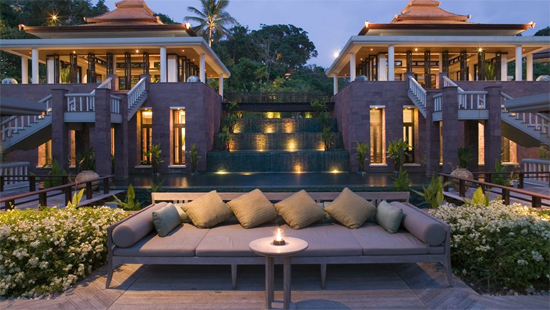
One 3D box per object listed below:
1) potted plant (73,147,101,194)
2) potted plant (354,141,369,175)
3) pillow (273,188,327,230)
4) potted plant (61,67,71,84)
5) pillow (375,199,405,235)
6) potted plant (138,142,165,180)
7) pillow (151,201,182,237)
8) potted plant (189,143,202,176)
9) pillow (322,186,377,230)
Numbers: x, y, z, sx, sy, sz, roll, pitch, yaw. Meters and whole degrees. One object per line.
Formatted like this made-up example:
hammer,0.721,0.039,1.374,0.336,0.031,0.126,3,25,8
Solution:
potted plant,-9.740,0.805,26.027,1.234,1.997,1.278,-1,-1,-22
potted plant,5.402,0.131,30.886,0.763,1.765,1.536,0,4,10
pillow,0.954,2.148,20.909,1.764,0.499,1.728,-20,46,-21
potted plant,-13.642,-5.114,32.646,0.432,1.018,1.411,-3,5,-25
pillow,4.698,2.527,20.842,0.797,0.997,1.492,-4,10,-20
potted plant,-7.425,0.233,30.986,0.991,1.845,3.239,-2,4,-14
pillow,-4.457,2.575,20.787,0.657,1.135,1.691,-3,7,14
potted plant,-5.017,0.193,31.054,0.635,1.762,1.060,-2,5,-9
pillow,3.122,2.110,20.916,1.693,0.500,1.600,31,57,34
